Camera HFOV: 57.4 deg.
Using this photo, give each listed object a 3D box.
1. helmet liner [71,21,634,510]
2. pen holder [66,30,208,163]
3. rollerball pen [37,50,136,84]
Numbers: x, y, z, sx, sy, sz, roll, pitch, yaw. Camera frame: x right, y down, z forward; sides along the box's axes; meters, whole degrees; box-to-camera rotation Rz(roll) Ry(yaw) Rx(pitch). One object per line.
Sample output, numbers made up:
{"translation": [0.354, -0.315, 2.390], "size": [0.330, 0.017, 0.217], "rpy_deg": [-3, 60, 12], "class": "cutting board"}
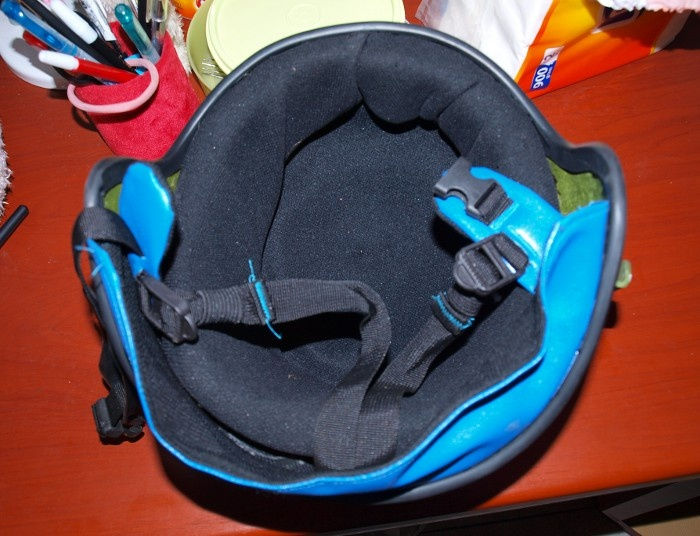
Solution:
{"translation": [-0.009, -0.005, 0.983], "size": [0.757, 0.278, 0.769], "rpy_deg": [16, 79, 8], "class": "helmet liner"}
{"translation": [-0.350, -0.243, 1.126], "size": [0.185, 0.208, 0.238], "rpy_deg": [-3, 78, 4], "class": "pen holder"}
{"translation": [-0.413, -0.325, 1.037], "size": [0.026, 0.223, 0.033], "rpy_deg": [-5, 96, 17], "class": "rollerball pen"}
